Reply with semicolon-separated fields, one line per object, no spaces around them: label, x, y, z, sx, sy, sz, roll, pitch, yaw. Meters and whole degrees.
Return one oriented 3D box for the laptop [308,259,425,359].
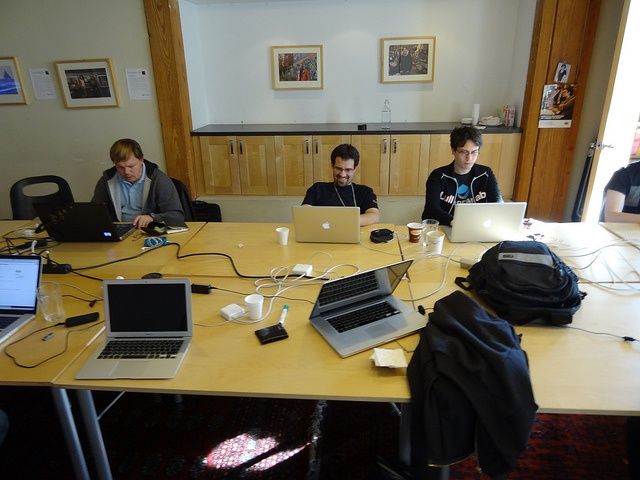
laptop;0.245;0.392;2.327;0.655;0.392;0.450;-16;23;-24

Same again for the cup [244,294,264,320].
cup;-0.350;0.352;2.407;0.118;0.123;0.121;-3;9;0

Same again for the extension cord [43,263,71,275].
extension cord;-1.709;0.185;2.871;0.147;0.053;0.085;2;10;-4

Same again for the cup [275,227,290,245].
cup;-0.263;-0.034;3.194;0.105;0.112;0.108;0;21;0

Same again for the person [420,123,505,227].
person;1.000;-0.610;3.789;0.648;0.884;0.841;-2;28;3

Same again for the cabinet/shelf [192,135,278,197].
cabinet/shelf;-0.982;-0.895;5.160;0.632;0.461;0.247;0;23;2

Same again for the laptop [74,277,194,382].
laptop;-0.912;0.429;2.178;0.484;0.362;0.352;-1;22;6

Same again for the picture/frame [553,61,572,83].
picture/frame;2.478;-1.714;4.505;0.185;0.250;0.028;5;18;5

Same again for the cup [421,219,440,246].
cup;0.774;-0.053;3.112;0.144;0.189;0.131;-1;24;0

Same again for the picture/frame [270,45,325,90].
picture/frame;-0.258;-2.065;5.250;0.504;0.381;0.019;1;20;8

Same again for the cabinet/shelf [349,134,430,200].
cabinet/shelf;0.755;-0.832;4.811;0.777;0.676;0.299;1;18;4

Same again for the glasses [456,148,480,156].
glasses;1.191;-0.695;3.544;0.172;0.070;0.051;-3;22;-1

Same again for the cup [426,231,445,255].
cup;0.762;0.018;3.006;0.136;0.136;0.137;-1;20;0

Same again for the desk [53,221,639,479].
desk;0.325;0.582;2.710;3.226;0.784;1.686;1;22;9

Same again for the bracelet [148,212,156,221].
bracelet;-1.358;-0.191;3.565;0.054;0.053;0.052;28;10;-3

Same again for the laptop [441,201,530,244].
laptop;1.128;-0.125;2.998;0.415;0.264;0.292;-1;29;3

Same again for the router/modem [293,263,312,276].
router/modem;-0.116;0.180;2.761;0.080;0.032;0.080;1;17;2

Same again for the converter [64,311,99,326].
converter;-1.306;0.429;2.416;0.187;0.051;0.059;-10;38;-15

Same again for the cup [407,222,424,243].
cup;0.678;-0.062;3.168;0.124;0.103;0.125;0;16;0

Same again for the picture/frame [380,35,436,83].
picture/frame;1.035;-2.119;5.132;0.532;0.402;0.021;2;23;6

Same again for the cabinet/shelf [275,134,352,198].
cabinet/shelf;-0.069;-0.815;4.622;0.781;0.675;0.297;-1;19;2

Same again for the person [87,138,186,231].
person;-1.586;-0.504;3.905;0.726;0.926;0.684;7;45;-6

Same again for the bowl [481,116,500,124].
bowl;1.975;-1.365;5.115;0.241;0.086;0.135;1;22;10

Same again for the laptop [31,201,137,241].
laptop;-1.707;-0.127;3.133;0.419;0.252;0.342;7;37;0

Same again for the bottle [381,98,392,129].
bottle;0.778;-1.494;5.224;0.114;0.281;0.329;0;22;9
